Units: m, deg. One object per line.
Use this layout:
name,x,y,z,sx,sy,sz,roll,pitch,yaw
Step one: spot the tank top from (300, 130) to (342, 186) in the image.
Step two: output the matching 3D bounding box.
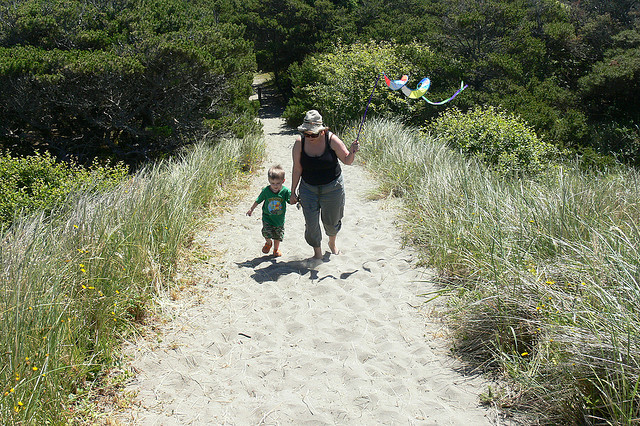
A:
tank top,-0.025,-0.826,7.891,0.606,0.859,0.460,-1,27,9

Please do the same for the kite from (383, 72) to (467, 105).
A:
kite,1.431,-1.763,7.688,1.168,0.333,0.254,8,-3,10
